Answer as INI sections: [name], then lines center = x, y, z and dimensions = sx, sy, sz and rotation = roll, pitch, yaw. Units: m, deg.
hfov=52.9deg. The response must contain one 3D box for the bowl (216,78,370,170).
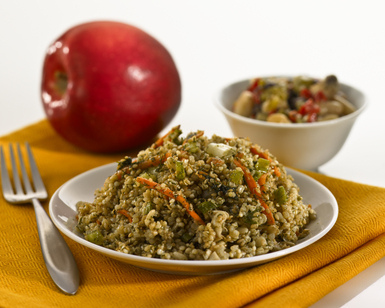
[bowl]
center = 0.407, -0.073, 1.528
dimensions = 0.483, 0.246, 0.499
rotation = -1, 23, 0
